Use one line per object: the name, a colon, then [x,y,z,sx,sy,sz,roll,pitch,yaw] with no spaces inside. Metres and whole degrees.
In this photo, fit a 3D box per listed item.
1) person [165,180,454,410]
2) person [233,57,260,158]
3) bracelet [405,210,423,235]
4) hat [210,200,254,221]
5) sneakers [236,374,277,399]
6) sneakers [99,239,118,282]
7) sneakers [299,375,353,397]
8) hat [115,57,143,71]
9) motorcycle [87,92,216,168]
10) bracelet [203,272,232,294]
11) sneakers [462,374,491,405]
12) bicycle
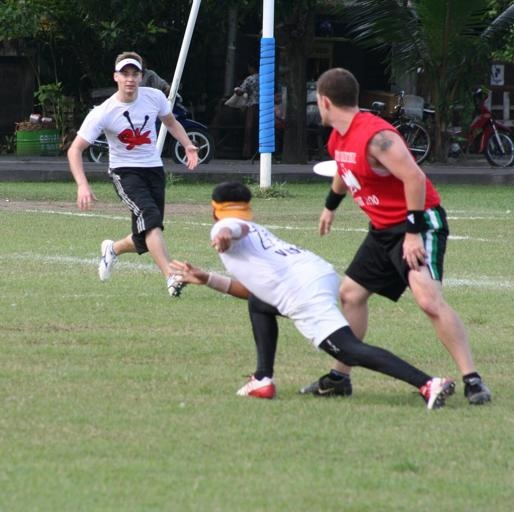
person: [0.148,0.206,4.990,1.325,1.099,0.826,2,4,36]
person: [-0.186,-2.407,18.129,0.458,1.677,0.557,7,8,29]
bracelet: [0.719,-0.162,4.938,0.091,0.100,0.090,2,-1,-45]
hat: [-0.117,-0.213,5.144,0.126,0.078,0.102,-1,-3,9]
sneakers: [0.008,0.625,5.177,0.207,0.095,0.078,0,-5,28]
sneakers: [-1.036,0.030,7.556,0.085,0.190,0.072,17,38,-16]
sneakers: [0.349,0.631,5.303,0.279,0.124,0.103,1,2,1]
hat: [-0.873,-1.304,7.416,0.176,0.093,0.202,-1,8,-8]
motorcycle: [-1.841,-2.084,16.940,2.197,1.451,1.090,-1,19,6]
bracelet: [-0.194,0.125,5.239,0.084,0.068,0.116,17,-4,19]
sneakers: [1.011,0.614,5.016,0.103,0.152,0.151,-8,-1,-39]
bicycle: [2.045,-2.039,17.368,1.621,1.037,0.858,3,2,-8]
